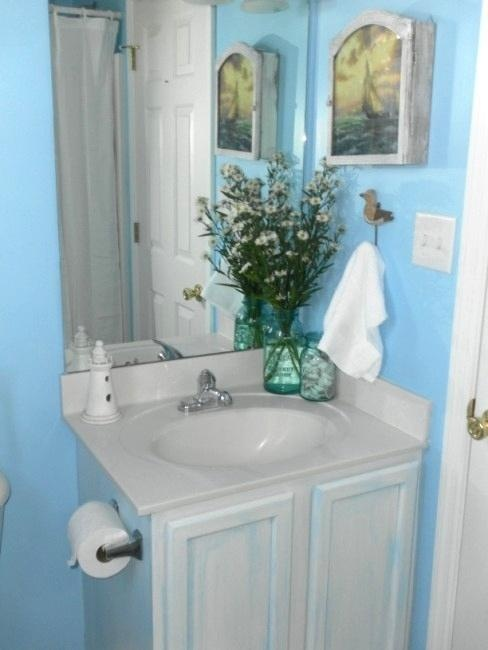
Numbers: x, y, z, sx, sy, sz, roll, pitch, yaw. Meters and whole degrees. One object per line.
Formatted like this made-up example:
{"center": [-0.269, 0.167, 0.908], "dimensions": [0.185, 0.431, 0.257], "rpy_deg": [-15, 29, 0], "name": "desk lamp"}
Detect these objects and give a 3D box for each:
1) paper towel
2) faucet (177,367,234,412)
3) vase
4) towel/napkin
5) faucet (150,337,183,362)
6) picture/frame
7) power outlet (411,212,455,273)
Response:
{"center": [-0.267, 0.382, 1.067], "dimensions": [0.121, 0.131, 0.148], "rpy_deg": [-3, 4, -14], "name": "paper towel"}
{"center": [-0.093, 0.152, 1.380], "dimensions": [0.126, 0.097, 0.069], "rpy_deg": [-1, 12, -15], "name": "faucet"}
{"center": [0.106, 0.065, 1.506], "dimensions": [0.128, 0.210, 0.134], "rpy_deg": [2, 3, 27], "name": "vase"}
{"center": [0.252, -0.034, 1.285], "dimensions": [0.141, 0.309, 0.109], "rpy_deg": [5, 11, 15], "name": "towel/napkin"}
{"center": [-0.198, 0.067, 1.480], "dimensions": [0.095, 0.074, 0.032], "rpy_deg": [-6, 10, -26], "name": "faucet"}
{"center": [0.268, -0.482, 1.169], "dimensions": [0.081, 0.293, 0.246], "rpy_deg": [-6, 14, -36], "name": "picture/frame"}
{"center": [0.384, -0.170, 1.140], "dimensions": [0.014, 0.108, 0.091], "rpy_deg": [-9, 33, -23], "name": "power outlet"}
